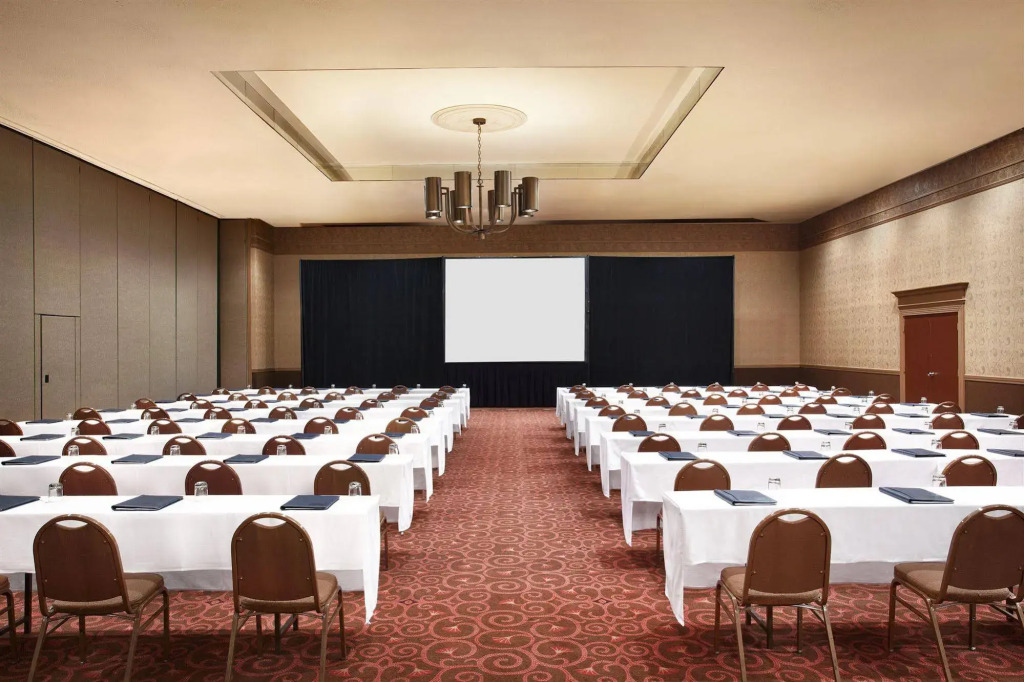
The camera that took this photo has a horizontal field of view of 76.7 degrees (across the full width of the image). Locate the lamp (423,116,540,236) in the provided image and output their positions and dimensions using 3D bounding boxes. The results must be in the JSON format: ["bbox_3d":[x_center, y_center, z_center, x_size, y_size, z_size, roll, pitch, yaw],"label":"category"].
[{"bbox_3d":[-0.569,-2.842,11.602,2.196,1.853,2.031,-3,3,-26],"label":"lamp"}]

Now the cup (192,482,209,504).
[{"bbox_3d":[-2.558,1.240,5.306,0.101,0.141,0.168,-2,3,-34],"label":"cup"}]

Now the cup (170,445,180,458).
[{"bbox_3d":[-3.724,1.223,7.210,0.132,0.101,0.117,0,-3,-5],"label":"cup"}]

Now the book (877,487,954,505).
[{"bbox_3d":[3.310,1.266,5.319,0.446,0.045,0.417,0,1,4],"label":"book"}]

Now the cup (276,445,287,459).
[{"bbox_3d":[-2.675,1.296,7.534,0.133,0.145,0.137,0,-5,0],"label":"cup"}]

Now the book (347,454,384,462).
[{"bbox_3d":[-1.513,1.230,6.721,0.298,0.031,0.342,2,-4,-8],"label":"book"}]

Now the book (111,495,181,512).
[{"bbox_3d":[-2.936,1.308,5.205,0.451,0.037,0.330,0,1,5],"label":"book"}]

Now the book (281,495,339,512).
[{"bbox_3d":[-1.607,1.297,5.145,0.416,0.039,0.322,0,1,0],"label":"book"}]

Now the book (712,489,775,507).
[{"bbox_3d":[1.890,1.279,5.256,0.420,0.052,0.357,0,1,-2],"label":"book"}]

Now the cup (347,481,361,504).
[{"bbox_3d":[-1.375,1.326,5.642,0.146,0.116,0.223,0,-3,-12],"label":"cup"}]
